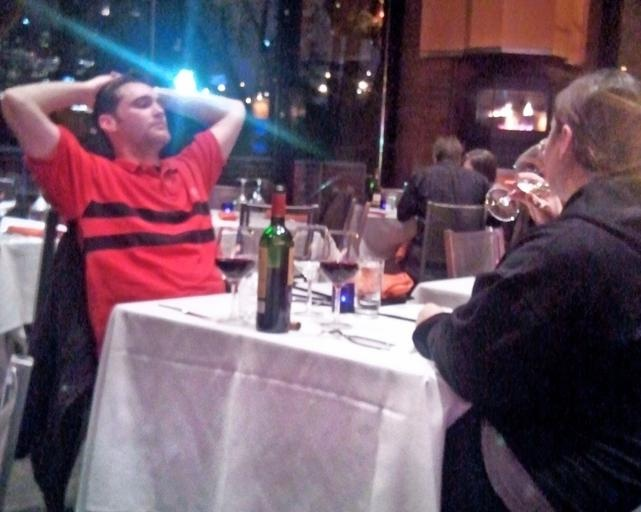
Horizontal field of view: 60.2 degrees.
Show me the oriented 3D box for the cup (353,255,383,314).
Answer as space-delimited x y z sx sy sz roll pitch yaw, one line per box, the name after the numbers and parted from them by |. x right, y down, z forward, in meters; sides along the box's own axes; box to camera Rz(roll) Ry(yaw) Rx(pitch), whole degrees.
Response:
0.125 0.077 1.518 0.101 0.198 0.114 1 6 0 | cup
